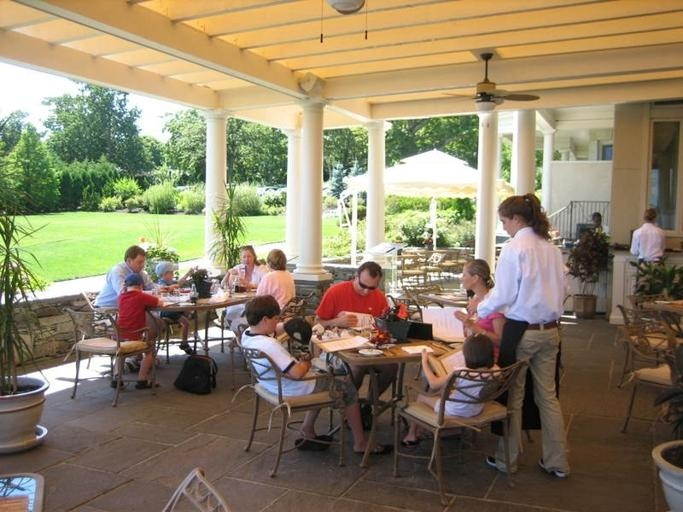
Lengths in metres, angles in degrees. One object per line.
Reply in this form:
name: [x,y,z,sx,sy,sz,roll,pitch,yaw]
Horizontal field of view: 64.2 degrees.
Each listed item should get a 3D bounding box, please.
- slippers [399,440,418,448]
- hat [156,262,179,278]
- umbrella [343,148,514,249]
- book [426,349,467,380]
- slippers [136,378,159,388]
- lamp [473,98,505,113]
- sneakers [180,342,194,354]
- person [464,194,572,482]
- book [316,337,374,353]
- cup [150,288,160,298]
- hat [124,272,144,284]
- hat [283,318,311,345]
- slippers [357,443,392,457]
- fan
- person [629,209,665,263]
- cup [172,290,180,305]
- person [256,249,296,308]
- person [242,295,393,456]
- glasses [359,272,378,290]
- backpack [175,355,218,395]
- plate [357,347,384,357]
slippers: [0.619,1.698,4.889,0.126,0.031,0.058,3,2,-3]
hat: [-2.470,0.186,7.762,0.322,0.175,0.233,-21,25,-32]
umbrella: [1.794,-1.747,12.897,3.501,2.445,3.425,1,3,12]
book: [0.840,0.838,4.258,0.210,0.200,0.079,-21,-34,1]
slippers: [-2.245,1.454,6.297,0.229,0.074,0.115,-2,4,-21]
lamp: [2.036,-2.140,7.696,0.298,0.142,0.299,2,3,34]
sneakers: [-2.060,1.228,7.257,0.098,0.106,0.263,-9,5,-29]
person: [1.521,0.651,4.438,0.757,2.299,0.543,-2,8,-16]
book: [0.029,0.738,4.597,0.437,0.054,0.298,-4,8,-29]
cup: [-2.376,0.469,6.957,0.095,0.083,0.091,1,8,0]
hat: [-2.357,0.256,6.203,0.127,0.093,0.169,9,13,22]
hat: [-0.354,0.633,4.535,0.197,0.247,0.243,1,8,1]
slippers: [0.284,1.715,4.794,0.324,0.088,0.121,-3,5,-5]
fan: [2.155,-2.494,7.892,0.895,0.503,0.848,-5,15,-9]
person: [5.292,-0.380,9.331,0.624,0.858,0.594,-1,14,27]
cup: [-2.091,0.512,6.875,0.143,0.180,0.072,0,-38,-21]
person: [-0.815,0.280,6.631,0.440,0.707,0.534,12,15,37]
person: [-0.338,1.043,4.685,1.013,1.424,0.543,-1,8,-11]
glasses: [0.240,0.244,5.151,0.169,0.052,0.165,14,35,-15]
backpack: [-1.688,1.376,6.331,0.504,0.425,0.262,5,-4,24]
plate: [0.236,0.775,4.412,0.201,0.035,0.187,1,7,2]
